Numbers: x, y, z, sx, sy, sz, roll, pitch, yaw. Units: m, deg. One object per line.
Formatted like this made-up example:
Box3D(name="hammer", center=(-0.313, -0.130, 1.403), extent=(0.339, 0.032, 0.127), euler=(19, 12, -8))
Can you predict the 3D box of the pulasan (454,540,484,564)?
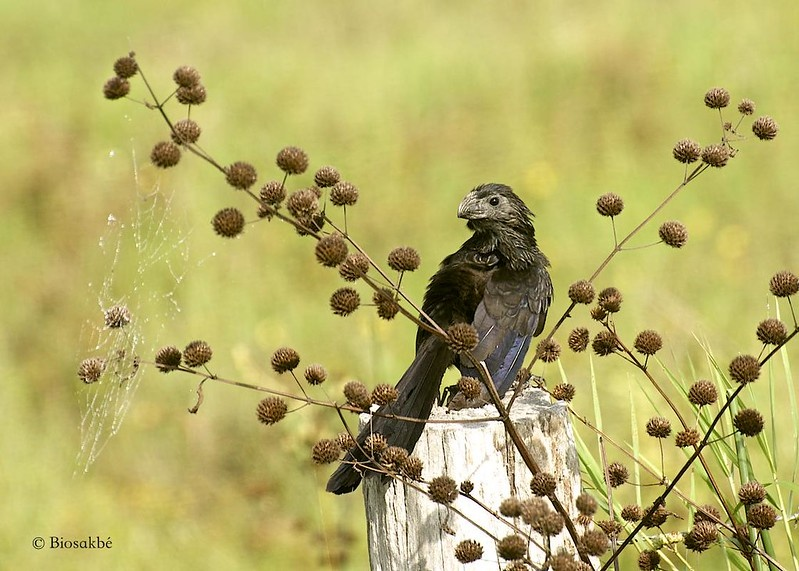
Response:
Box3D(name="pulasan", center=(0.429, 1.631, 6.997), extent=(0.152, 0.135, 0.136), euler=(-5, -14, 37))
